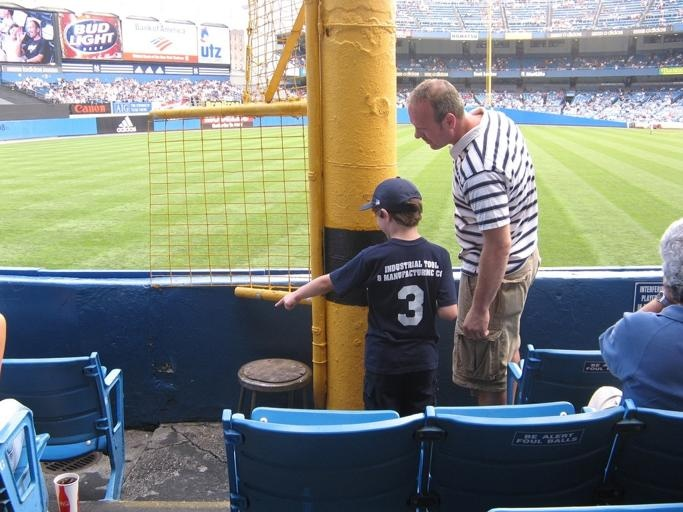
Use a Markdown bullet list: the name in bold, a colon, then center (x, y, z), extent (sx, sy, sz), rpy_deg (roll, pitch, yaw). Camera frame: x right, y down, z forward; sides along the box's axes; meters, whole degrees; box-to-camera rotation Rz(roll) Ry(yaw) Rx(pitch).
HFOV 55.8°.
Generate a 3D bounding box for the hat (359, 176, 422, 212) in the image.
- **hat**: center (0.255, -0.326, 3.329), extent (0.245, 0.172, 0.360), rpy_deg (-14, 15, -33)

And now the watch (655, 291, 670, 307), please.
- **watch**: center (1.592, 0.211, 3.186), extent (0.055, 0.064, 0.069), rpy_deg (-29, 45, -15)

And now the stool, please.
- **stool**: center (-0.392, 0.830, 3.838), extent (0.446, 0.515, 0.416), rpy_deg (0, 8, -4)

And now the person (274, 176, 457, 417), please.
- **person**: center (0.228, 0.205, 3.297), extent (0.613, 1.198, 0.404), rpy_deg (8, 14, 32)
